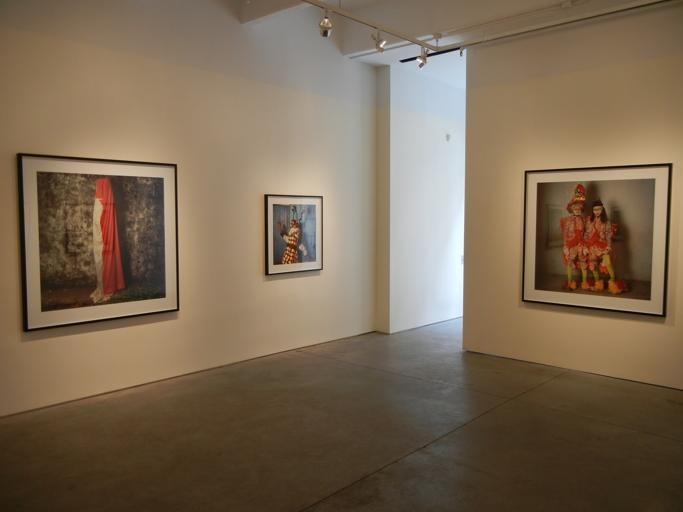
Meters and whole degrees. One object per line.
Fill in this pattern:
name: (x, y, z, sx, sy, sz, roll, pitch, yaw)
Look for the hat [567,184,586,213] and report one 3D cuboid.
hat: (3.506, -0.876, 7.578, 0.281, 0.372, 0.324, 8, 3, 17)
